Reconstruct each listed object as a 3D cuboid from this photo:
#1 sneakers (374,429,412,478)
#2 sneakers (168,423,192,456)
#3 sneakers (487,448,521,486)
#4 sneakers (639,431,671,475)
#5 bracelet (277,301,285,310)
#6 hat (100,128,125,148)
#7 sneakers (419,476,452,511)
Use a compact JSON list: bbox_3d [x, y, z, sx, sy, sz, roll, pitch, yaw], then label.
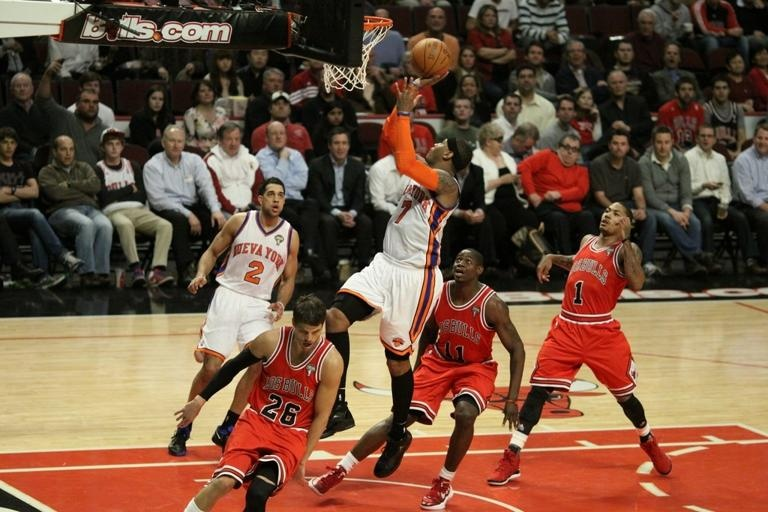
[{"bbox_3d":[0.072,1.639,7.227,0.126,0.381,0.160,31,0,26],"label":"sneakers"},{"bbox_3d":[-1.773,1.589,7.567,0.129,0.153,0.354,8,9,-3],"label":"sneakers"},{"bbox_3d":[1.020,1.744,7.226,0.326,0.300,0.097,-1,6,-30],"label":"sneakers"},{"bbox_3d":[2.340,1.716,7.516,0.103,0.296,0.203,-33,-13,15],"label":"sneakers"},{"bbox_3d":[-0.889,0.422,7.536,0.053,0.070,0.075,3,-15,0],"label":"bracelet"},{"bbox_3d":[-3.718,-1.697,11.872,0.240,0.207,0.340,1,-29,-27],"label":"hat"},{"bbox_3d":[0.416,1.876,6.870,0.133,0.172,0.329,4,3,27],"label":"sneakers"}]
